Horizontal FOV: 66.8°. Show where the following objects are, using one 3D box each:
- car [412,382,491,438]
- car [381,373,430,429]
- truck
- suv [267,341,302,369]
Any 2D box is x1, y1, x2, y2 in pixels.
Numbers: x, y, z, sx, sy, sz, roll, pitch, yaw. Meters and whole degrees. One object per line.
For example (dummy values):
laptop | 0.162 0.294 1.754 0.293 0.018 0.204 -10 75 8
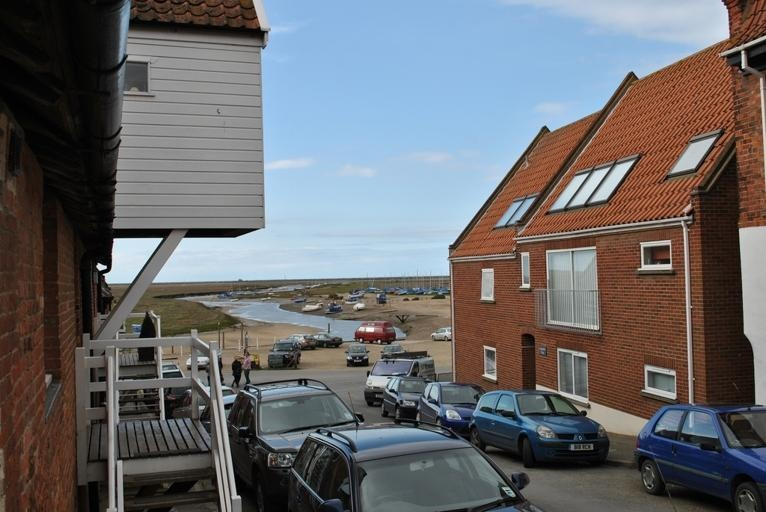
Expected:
car | 2.196 5.049 19.248 2.051 1.389 3.100 3 -12 -17
car | 1.101 5.632 23.565 1.842 1.507 3.549 3 -10 -13
truck | 0.592 6.088 29.465 2.222 1.903 3.975 -3 -9 23
suv | -8.112 7.987 47.751 2.243 2.000 3.569 0 -7 2
